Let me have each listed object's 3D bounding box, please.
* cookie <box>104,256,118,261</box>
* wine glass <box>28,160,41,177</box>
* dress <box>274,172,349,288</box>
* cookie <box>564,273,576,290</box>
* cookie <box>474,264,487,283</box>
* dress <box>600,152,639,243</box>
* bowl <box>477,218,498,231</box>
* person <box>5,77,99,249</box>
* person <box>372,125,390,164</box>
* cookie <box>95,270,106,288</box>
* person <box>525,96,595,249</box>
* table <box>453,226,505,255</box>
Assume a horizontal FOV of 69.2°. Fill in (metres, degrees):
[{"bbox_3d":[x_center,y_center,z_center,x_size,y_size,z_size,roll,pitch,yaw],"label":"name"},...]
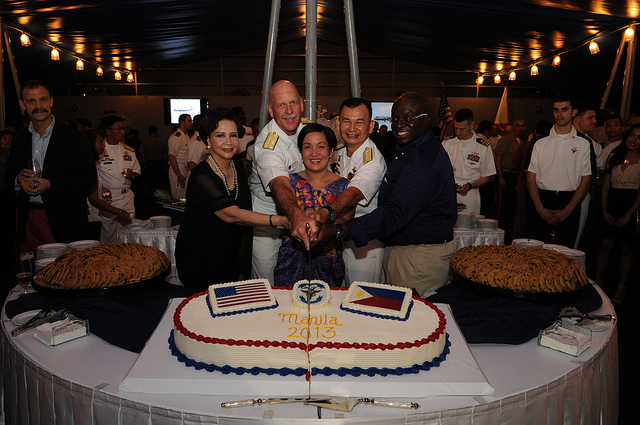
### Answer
[{"bbox_3d":[-1.411,0.312,3.131,0.080,0.017,0.067,-7,19,-22],"label":"cookie"},{"bbox_3d":[-2.493,-0.401,4.048,0.094,0.143,0.334,-11,20,-29],"label":"wine glass"},{"bbox_3d":[-0.072,0.175,3.623,0.600,0.897,0.460,0,17,2],"label":"dress"},{"bbox_3d":[1.638,0.457,3.055,0.067,0.109,0.014,-3,-20,-33],"label":"cookie"},{"bbox_3d":[1.079,0.420,3.122,0.025,0.098,0.097,-1,-2,37],"label":"cookie"},{"bbox_3d":[3.654,-0.146,5.552,0.377,0.940,0.341,11,21,32],"label":"dress"},{"bbox_3d":[1.839,0.118,5.078,0.207,0.124,0.246,7,19,22],"label":"bowl"},{"bbox_3d":[-2.452,-0.384,4.197,0.760,1.561,0.973,-9,19,-26],"label":"person"},{"bbox_3d":[0.933,-1.089,7.388,0.262,0.837,0.265,14,58,9],"label":"person"},{"bbox_3d":[-1.408,0.425,2.981,0.083,0.081,0.009,7,-24,0],"label":"cookie"},{"bbox_3d":[2.751,-0.421,5.329,0.675,1.758,0.640,13,22,37],"label":"person"},{"bbox_3d":[1.716,0.339,5.137,0.593,0.287,0.584,-2,1,-45],"label":"table"}]
